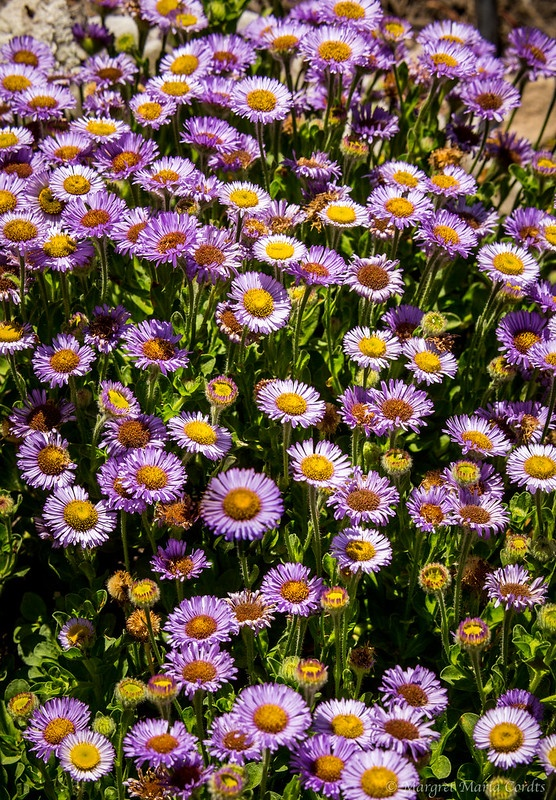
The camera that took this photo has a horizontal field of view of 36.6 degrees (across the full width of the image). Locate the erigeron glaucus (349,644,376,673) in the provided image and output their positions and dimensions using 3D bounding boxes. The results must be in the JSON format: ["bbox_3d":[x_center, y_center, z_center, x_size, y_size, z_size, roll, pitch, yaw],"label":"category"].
[{"bbox_3d":[0.232,0.689,2.243,0.069,0.069,0.068,6,57,-11],"label":"erigeron glaucus"}]

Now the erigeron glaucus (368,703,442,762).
[{"bbox_3d":[0.300,0.834,2.095,0.190,0.066,0.176,1,11,-14],"label":"erigeron glaucus"}]

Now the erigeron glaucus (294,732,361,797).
[{"bbox_3d":[0.101,0.874,2.005,0.149,0.059,0.146,-3,36,16],"label":"erigeron glaucus"}]

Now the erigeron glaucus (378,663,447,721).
[{"bbox_3d":[0.340,0.775,2.209,0.172,0.062,0.172,13,22,30],"label":"erigeron glaucus"}]
